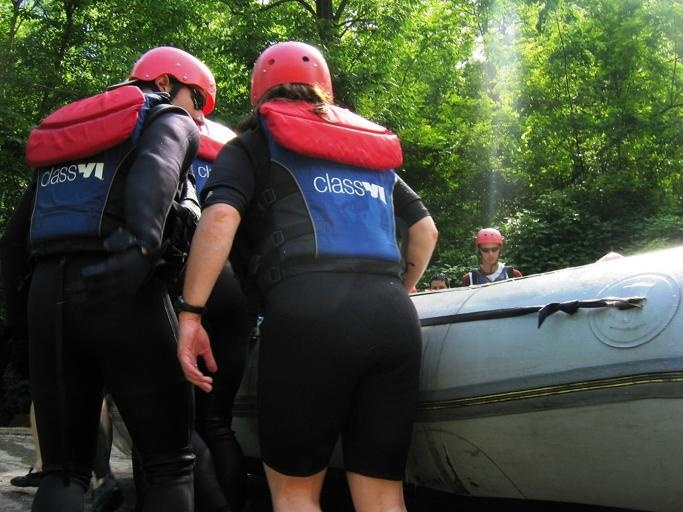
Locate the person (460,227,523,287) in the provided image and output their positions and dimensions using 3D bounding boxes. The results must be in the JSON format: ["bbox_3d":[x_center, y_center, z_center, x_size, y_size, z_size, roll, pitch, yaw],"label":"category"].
[{"bbox_3d":[1.682,0.123,6.705,0.728,0.838,0.441,-3,0,18],"label":"person"}]

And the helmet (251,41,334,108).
[{"bbox_3d":[-0.213,-0.768,2.563,0.243,0.270,0.332,2,-1,-7],"label":"helmet"}]

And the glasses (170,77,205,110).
[{"bbox_3d":[-0.740,-0.766,2.882,0.136,0.072,0.102,45,-1,-24],"label":"glasses"}]

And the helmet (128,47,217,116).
[{"bbox_3d":[-0.806,-0.831,2.924,0.369,0.218,0.269,32,-7,-26],"label":"helmet"}]

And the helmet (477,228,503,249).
[{"bbox_3d":[1.655,-0.189,6.743,0.199,0.215,0.283,3,13,1],"label":"helmet"}]

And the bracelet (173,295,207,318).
[{"bbox_3d":[-0.571,0.194,2.237,0.085,0.085,0.087,20,-33,-19],"label":"bracelet"}]
